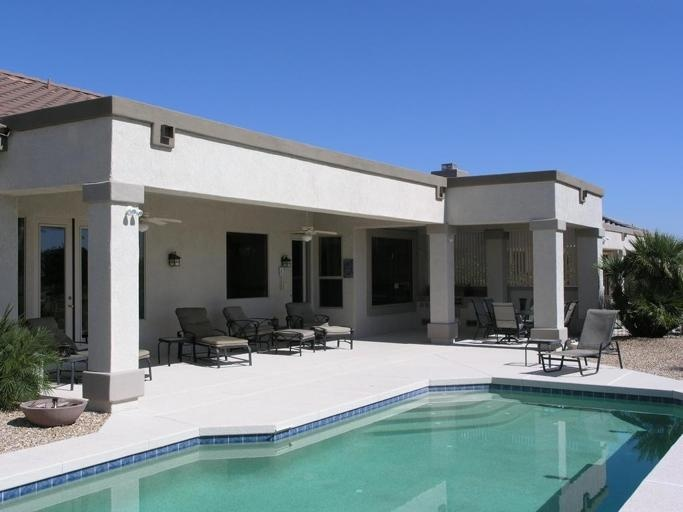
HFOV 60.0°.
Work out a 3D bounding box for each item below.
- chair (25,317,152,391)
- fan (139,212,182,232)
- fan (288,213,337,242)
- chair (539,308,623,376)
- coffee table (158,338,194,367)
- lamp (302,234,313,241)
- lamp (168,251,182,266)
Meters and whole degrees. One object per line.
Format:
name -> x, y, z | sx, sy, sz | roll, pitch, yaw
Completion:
chair -> -4.904, 1.619, 10.442 | 1.466, 0.955, 1.528 | -1, -2, 19
fan -> -3.820, -0.718, 12.305 | 0.602, 0.254, 0.615 | 5, 3, 14
fan -> -0.918, -0.634, 15.423 | 0.972, 0.483, 0.949 | 1, -2, -40
chair -> 4.765, 1.662, 11.664 | 1.935, 1.358, 1.002 | -1, 0, -43
coffee table -> -3.637, 2.003, 12.640 | 0.622, 0.515, 0.661 | 2, -4, -38
lamp -> -0.878, -0.449, 14.670 | 0.167, 0.124, 0.166 | 1, -5, -7
lamp -> -3.838, 0.084, 13.473 | 0.200, 0.354, 0.324 | -4, -9, 27
